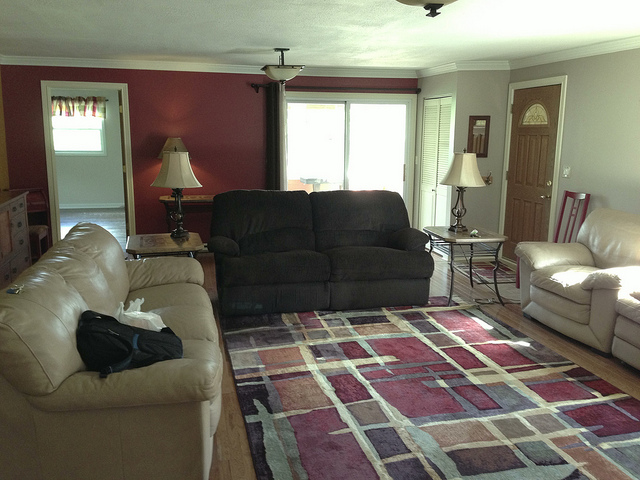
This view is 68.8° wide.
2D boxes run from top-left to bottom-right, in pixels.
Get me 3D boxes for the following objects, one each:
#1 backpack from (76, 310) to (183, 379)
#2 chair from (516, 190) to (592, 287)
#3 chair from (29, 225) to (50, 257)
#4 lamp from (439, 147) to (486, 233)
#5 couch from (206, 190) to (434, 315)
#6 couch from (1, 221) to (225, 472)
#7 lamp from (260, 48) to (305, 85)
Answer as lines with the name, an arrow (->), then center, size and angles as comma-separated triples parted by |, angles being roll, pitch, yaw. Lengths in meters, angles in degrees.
backpack -> -1.063, 0.557, 2.517 | 0.390, 0.146, 0.376 | 10, 20, -8
chair -> 2.658, 0.044, 5.444 | 0.667, 1.086, 0.603 | -7, 13, 1
chair -> -3.466, 0.007, 5.774 | 0.269, 0.373, 0.374 | -2, 9, -12
lamp -> 1.682, -0.601, 5.540 | 0.463, 0.875, 0.971 | 4, 13, 17
couch -> -0.017, 0.066, 5.234 | 2.360, 1.180, 1.197 | -2, 12, -13
couch -> -1.191, 0.629, 2.764 | 0.756, 0.665, 1.508 | 0, 10, -13
lamp -> -0.436, -2.030, 5.475 | 0.596, 0.385, 0.635 | 6, 15, 22
